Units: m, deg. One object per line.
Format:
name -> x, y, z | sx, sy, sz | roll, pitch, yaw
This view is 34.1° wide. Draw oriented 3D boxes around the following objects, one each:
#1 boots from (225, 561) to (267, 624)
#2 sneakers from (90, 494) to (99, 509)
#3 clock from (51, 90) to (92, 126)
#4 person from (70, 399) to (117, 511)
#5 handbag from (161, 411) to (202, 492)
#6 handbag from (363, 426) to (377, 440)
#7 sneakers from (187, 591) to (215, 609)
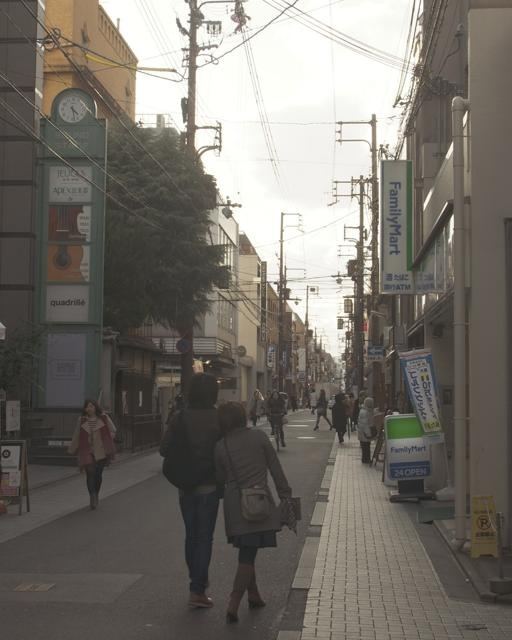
boots -> -0.080, 2.036, 6.402 | 0.271, 0.425, 0.677 | -1, -8, 2
sneakers -> -2.396, 2.674, 12.277 | 0.096, 0.212, 0.060 | -1, 0, -3
clock -> -4.961, -5.613, 22.303 | 1.191, 1.441, 0.207 | -1, -2, 0
person -> -2.444, 1.999, 12.442 | 0.628, 1.589, 1.137 | 0, -6, -12
handbag -> -0.595, 1.017, 6.569 | 0.319, 0.616, 0.182 | -2, -3, -29
handbag -> 2.676, 2.735, 19.570 | 0.261, 0.372, 0.284 | -13, 0, -11
sneakers -> -0.440, 2.183, 6.547 | 0.163, 0.172, 0.094 | 0, 1, -21
